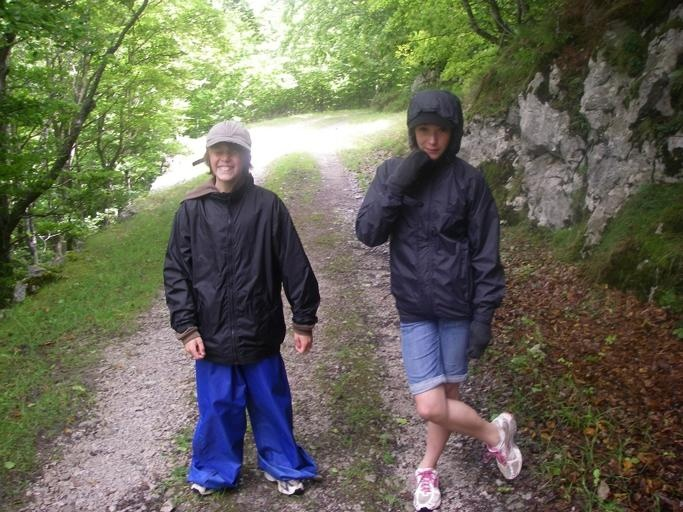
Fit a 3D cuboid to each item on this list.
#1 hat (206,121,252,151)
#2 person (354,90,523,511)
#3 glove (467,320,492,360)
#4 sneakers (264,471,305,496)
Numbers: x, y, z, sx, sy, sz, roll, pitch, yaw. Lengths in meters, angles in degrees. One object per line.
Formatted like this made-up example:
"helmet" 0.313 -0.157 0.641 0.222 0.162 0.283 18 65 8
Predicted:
"hat" -1.054 -1.107 4.445 0.415 0.302 0.242 -9 15 -12
"person" 0.899 0.380 4.304 1.309 3.613 0.899 0 16 19
"glove" 1.177 0.719 4.133 0.293 0.300 0.224 0 -1 4
"sneakers" -0.549 2.250 4.755 0.282 0.115 0.209 10 2 13
